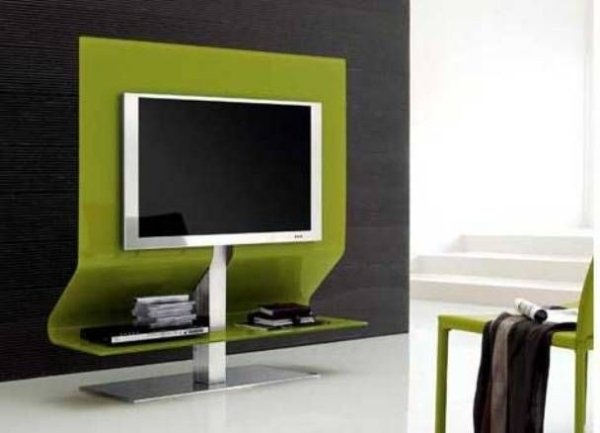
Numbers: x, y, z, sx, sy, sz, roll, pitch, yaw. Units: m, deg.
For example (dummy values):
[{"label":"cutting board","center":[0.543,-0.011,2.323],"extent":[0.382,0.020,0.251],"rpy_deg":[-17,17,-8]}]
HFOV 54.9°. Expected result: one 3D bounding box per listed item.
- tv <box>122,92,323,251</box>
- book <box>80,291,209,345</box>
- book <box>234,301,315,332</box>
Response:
[{"label":"tv","center":[-0.511,-0.272,3.459],"extent":[1.043,0.690,0.074],"rpy_deg":[-1,-1,-34]},{"label":"book","center":[-0.875,0.582,3.300],"extent":[0.684,0.245,0.248],"rpy_deg":[0,1,-20]},{"label":"book","center":[-0.103,0.632,3.680],"extent":[0.287,0.069,0.208],"rpy_deg":[-3,4,-35]}]
